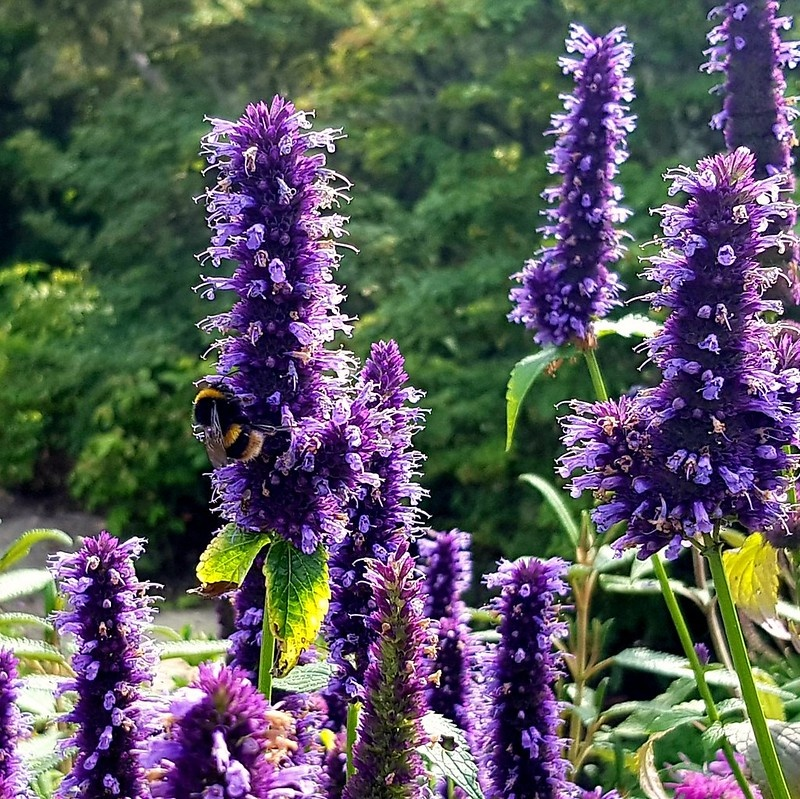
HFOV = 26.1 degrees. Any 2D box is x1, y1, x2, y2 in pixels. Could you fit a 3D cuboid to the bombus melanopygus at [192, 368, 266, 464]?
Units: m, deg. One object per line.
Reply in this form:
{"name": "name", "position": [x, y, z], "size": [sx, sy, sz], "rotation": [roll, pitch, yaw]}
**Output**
{"name": "bombus melanopygus", "position": [-0.655, 0.085, 6.383], "size": [0.161, 0.331, 0.383], "rotation": [-1, -2, -28]}
